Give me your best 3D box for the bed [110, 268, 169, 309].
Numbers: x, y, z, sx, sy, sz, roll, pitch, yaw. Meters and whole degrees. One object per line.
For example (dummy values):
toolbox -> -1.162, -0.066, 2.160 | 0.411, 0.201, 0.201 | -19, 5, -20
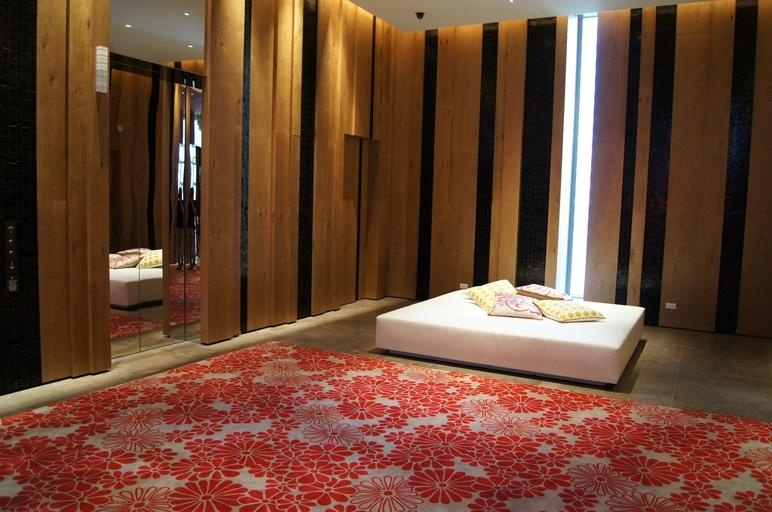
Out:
bed -> -2.536, 0.253, 6.154 | 0.349, 0.222, 0.488 | -5, 9, -42
